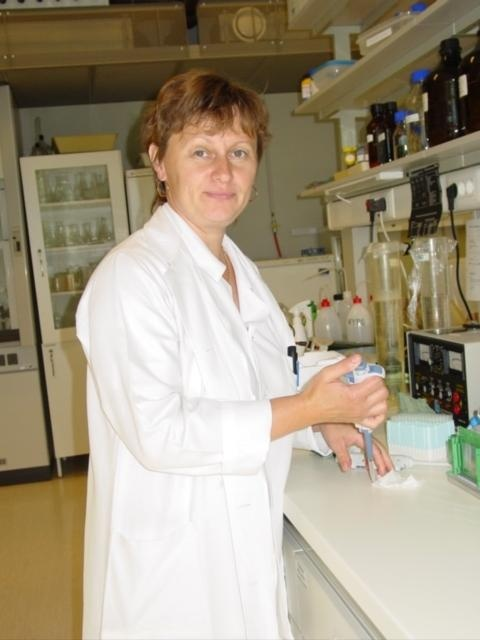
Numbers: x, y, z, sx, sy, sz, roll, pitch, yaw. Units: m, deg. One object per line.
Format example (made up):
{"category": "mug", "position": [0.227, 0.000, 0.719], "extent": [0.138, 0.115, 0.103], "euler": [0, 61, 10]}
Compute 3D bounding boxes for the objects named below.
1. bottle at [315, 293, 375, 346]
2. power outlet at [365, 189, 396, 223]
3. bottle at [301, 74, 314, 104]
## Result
{"category": "bottle", "position": [0.473, 0.003, 2.117], "extent": [0.274, 0.307, 0.162], "euler": [-2, 3, 30]}
{"category": "power outlet", "position": [0.527, -0.426, 1.856], "extent": [0.080, 0.131, 0.147], "euler": [-3, 4, -25]}
{"category": "bottle", "position": [0.285, -0.990, 2.132], "extent": [0.065, 0.125, 0.030], "euler": [4, 13, 19]}
